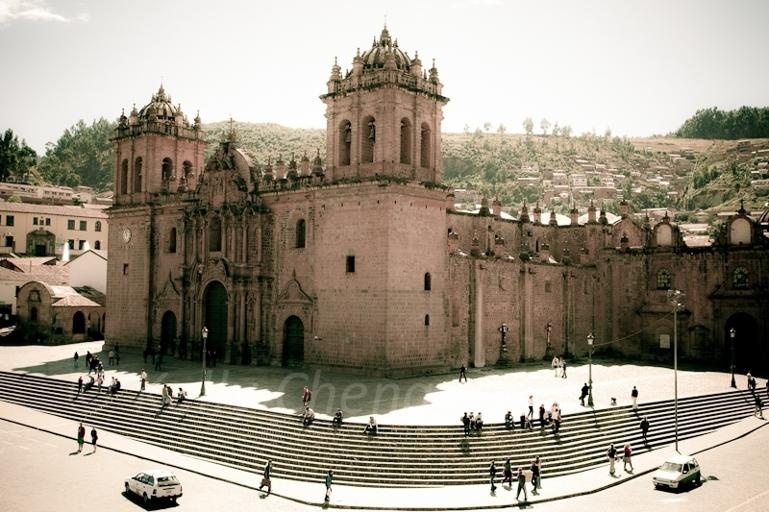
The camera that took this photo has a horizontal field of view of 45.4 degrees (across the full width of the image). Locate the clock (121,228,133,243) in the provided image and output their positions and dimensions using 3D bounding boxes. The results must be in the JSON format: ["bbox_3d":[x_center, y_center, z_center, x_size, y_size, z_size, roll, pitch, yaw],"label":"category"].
[{"bbox_3d":[-27.484,-2.132,98.424,0.340,1.607,1.582,-2,2,-44],"label":"clock"}]

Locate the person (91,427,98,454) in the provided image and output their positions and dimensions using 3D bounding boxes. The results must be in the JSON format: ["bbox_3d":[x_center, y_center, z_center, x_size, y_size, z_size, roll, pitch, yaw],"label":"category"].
[{"bbox_3d":[-22.516,14.266,71.558,0.395,1.677,1.508,-1,2,-18],"label":"person"}]

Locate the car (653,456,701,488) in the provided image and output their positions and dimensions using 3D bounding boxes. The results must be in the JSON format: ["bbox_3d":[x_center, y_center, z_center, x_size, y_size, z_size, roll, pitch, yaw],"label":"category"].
[{"bbox_3d":[21.038,15.703,66.640,3.372,2.140,1.439,-1,2,-23],"label":"car"}]

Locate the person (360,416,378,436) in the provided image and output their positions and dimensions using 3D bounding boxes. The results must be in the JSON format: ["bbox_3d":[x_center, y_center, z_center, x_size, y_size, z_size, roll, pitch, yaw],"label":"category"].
[{"bbox_3d":[-1.046,12.675,68.750,1.033,1.322,0.571,0,2,-7],"label":"person"}]
